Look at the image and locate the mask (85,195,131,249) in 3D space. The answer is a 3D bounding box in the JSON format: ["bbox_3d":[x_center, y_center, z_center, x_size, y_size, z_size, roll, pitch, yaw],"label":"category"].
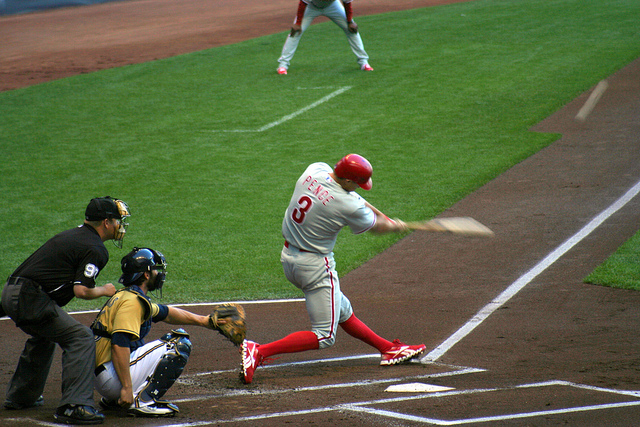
[{"bbox_3d":[-3.388,0.182,18.836,0.602,0.973,0.457,4,36,8],"label":"mask"}]

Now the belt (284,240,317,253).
[{"bbox_3d":[-0.432,0.525,19.329,0.256,0.076,0.207,17,3,-23],"label":"belt"}]

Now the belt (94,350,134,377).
[{"bbox_3d":[-3.251,2.374,18.430,0.376,0.352,0.348,-38,1,-10],"label":"belt"}]
